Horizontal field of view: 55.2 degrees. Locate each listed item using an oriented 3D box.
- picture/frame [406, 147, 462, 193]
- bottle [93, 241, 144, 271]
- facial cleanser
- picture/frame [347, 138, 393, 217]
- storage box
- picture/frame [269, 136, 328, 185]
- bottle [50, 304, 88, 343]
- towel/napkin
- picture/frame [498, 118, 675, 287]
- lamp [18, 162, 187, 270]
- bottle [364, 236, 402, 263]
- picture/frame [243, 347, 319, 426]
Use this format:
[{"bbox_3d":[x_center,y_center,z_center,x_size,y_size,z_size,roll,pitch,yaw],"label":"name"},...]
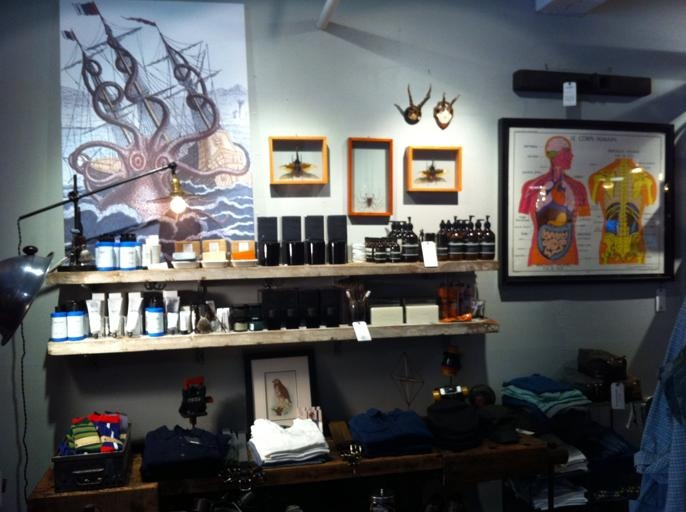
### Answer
[{"bbox_3d":[0.665,-0.618,4.777,0.364,0.314,0.129,1,-7,-1],"label":"picture/frame"},{"bbox_3d":[-1.488,0.002,4.299,0.295,0.198,0.180,0,1,-1],"label":"bottle"},{"bbox_3d":[-1.333,0.380,4.341,0.688,0.238,0.199,-5,3,-14],"label":"facial cleanser"},{"bbox_3d":[0.199,-0.561,4.745,0.338,0.564,0.066,-1,3,-12],"label":"picture/frame"},{"bbox_3d":[-1.543,1.269,4.066,0.303,0.153,0.455,1,-8,-17],"label":"storage box"},{"bbox_3d":[-0.333,-0.679,4.646,0.339,0.283,0.037,0,-1,-8],"label":"picture/frame"},{"bbox_3d":[-1.767,0.444,4.236,0.226,0.259,0.144,1,2,-4],"label":"bottle"},{"bbox_3d":[-0.350,1.205,4.296,0.508,0.172,0.298,-5,3,-15],"label":"towel/napkin"},{"bbox_3d":[1.888,-0.397,5.002,1.477,1.250,0.042,2,4,-10],"label":"picture/frame"},{"bbox_3d":[-1.670,-0.267,4.409,1.346,0.554,0.186,-20,-11,-2],"label":"lamp"},{"bbox_3d":[0.291,-0.035,4.575,0.282,0.201,0.157,1,-3,-13],"label":"bottle"},{"bbox_3d":[-0.438,0.978,4.619,0.445,0.536,0.027,-4,-8,6],"label":"picture/frame"}]
